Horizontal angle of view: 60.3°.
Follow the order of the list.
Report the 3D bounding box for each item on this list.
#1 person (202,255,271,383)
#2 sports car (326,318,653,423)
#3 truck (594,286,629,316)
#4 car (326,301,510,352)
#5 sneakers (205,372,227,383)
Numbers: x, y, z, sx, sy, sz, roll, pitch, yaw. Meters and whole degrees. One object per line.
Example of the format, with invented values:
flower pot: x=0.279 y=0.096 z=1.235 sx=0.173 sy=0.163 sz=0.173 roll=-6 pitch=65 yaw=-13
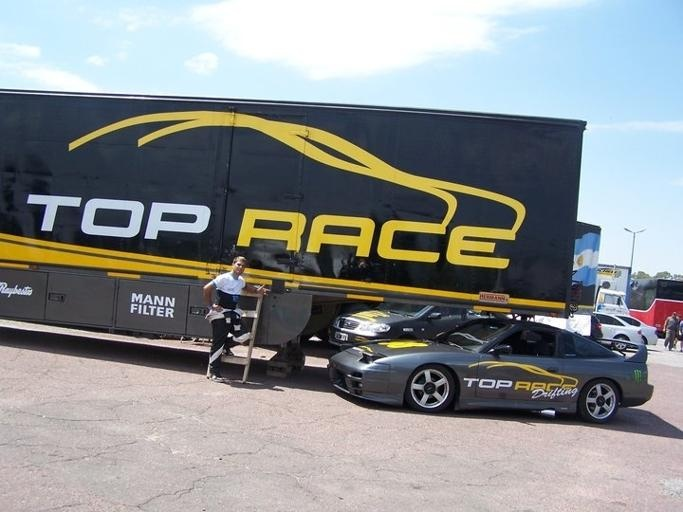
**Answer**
person: x=-1.870 y=1.032 z=9.669 sx=0.973 sy=2.003 sz=0.467 roll=9 pitch=1 yaw=-16
sports car: x=2.496 y=1.872 z=9.618 sx=4.505 sy=1.063 sz=2.018 roll=4 pitch=-5 yaw=-5
truck: x=14.363 y=2.438 z=31.409 sx=2.242 sy=1.572 sz=1.456 roll=0 pitch=-4 yaw=3
car: x=1.451 y=1.699 z=13.087 sx=3.361 sy=0.872 sz=1.392 roll=2 pitch=-1 yaw=-9
sneakers: x=-2.065 y=1.995 z=9.590 sx=0.346 sy=0.113 sz=0.123 roll=2 pitch=2 yaw=25
